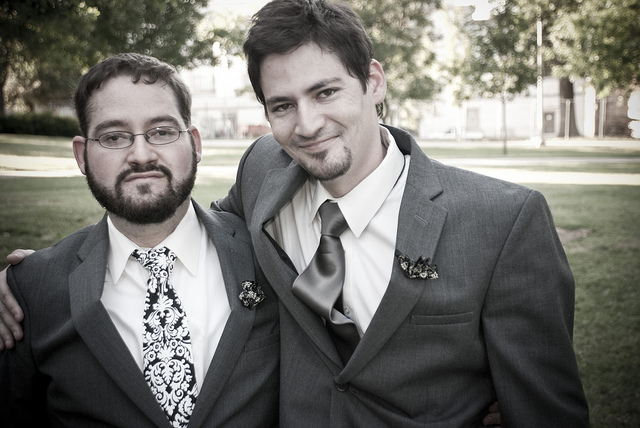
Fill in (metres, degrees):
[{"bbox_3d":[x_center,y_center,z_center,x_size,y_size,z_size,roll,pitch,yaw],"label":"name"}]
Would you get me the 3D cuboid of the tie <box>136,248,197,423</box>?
[{"bbox_3d":[-0.909,0.700,3.080,0.286,0.917,0.014,-15,-17,-11],"label":"tie"}]
